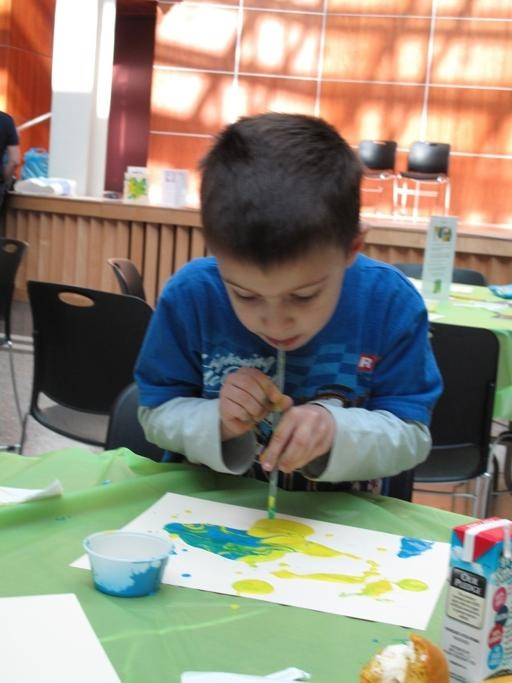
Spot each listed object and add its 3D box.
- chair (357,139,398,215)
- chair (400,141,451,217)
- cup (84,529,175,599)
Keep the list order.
[{"bbox_3d":[1.363,-1.815,6.316,0.509,0.782,0.524,-3,37,-1],"label":"chair"},{"bbox_3d":[1.864,-1.815,6.144,0.562,0.728,0.606,17,28,35],"label":"chair"},{"bbox_3d":[-0.114,0.196,0.494,0.073,0.041,0.066,10,5,27],"label":"cup"}]
